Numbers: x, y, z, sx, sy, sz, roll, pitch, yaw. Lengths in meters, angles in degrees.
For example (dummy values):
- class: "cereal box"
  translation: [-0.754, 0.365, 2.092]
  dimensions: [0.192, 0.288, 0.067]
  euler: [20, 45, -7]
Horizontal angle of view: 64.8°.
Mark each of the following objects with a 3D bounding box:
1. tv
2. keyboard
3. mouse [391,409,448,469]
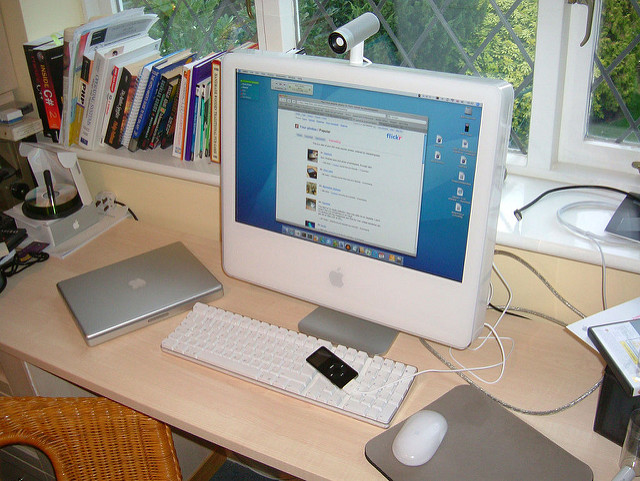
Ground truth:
- class: "tv"
  translation: [0.056, -0.093, 1.054]
  dimensions: [0.642, 0.505, 0.157]
  euler: [14, 34, 20]
- class: "keyboard"
  translation: [-0.108, 0.265, 1.109]
  dimensions: [0.604, 0.043, 0.195]
  euler: [11, 33, 29]
- class: "mouse"
  translation: [0.184, 0.362, 0.926]
  dimensions: [0.071, 0.050, 0.107]
  euler: [21, 37, 30]
